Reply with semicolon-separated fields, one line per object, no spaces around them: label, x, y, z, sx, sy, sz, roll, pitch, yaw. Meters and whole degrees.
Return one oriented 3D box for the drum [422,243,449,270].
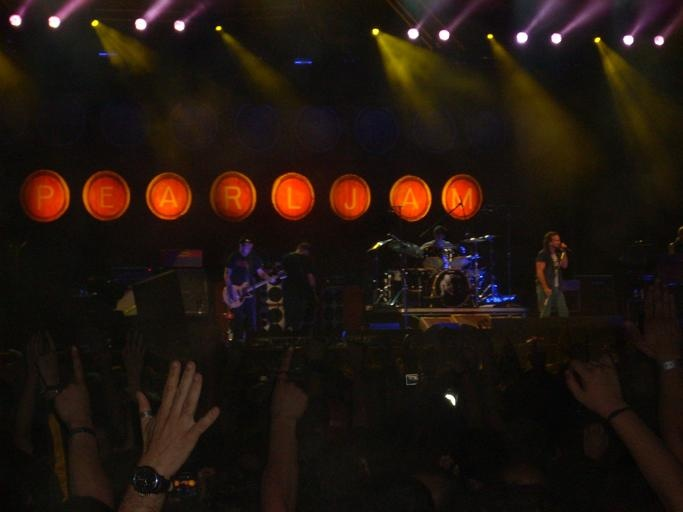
drum;1.467;0.013;10.061;0.387;0.428;0.392;6;-9;-23

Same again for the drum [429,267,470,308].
drum;1.654;0.542;9.904;0.623;0.658;0.413;1;-10;-11

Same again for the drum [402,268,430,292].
drum;1.157;0.380;9.834;0.352;0.351;0.365;-2;-3;27
